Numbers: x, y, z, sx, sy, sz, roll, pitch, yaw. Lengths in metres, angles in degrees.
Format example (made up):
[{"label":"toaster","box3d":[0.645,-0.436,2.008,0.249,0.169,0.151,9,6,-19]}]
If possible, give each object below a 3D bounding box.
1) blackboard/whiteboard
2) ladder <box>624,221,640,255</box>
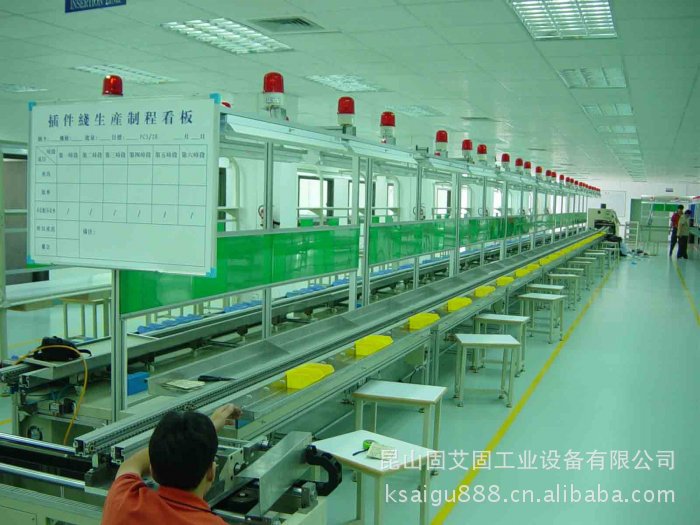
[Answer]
[{"label":"blackboard/whiteboard","box3d":[-1.233,-0.424,3.896,1.363,0.866,0.086,0,4,16]},{"label":"ladder","box3d":[9.390,-0.794,23.590,0.528,1.213,1.505,1,4,24]}]
